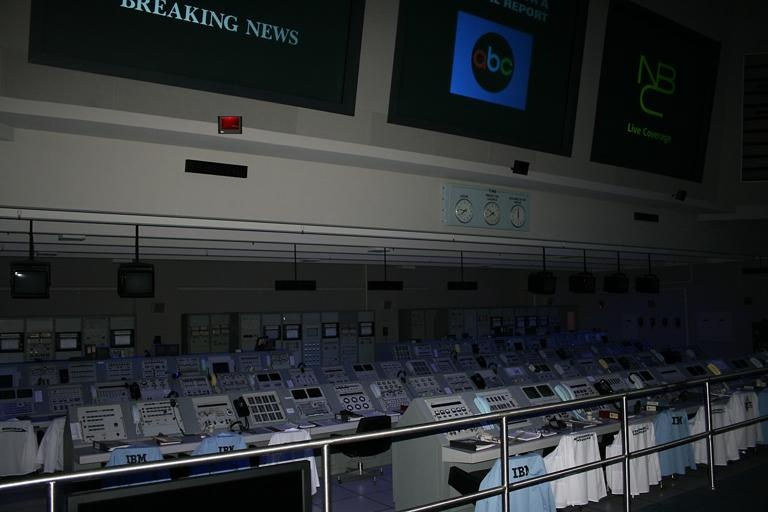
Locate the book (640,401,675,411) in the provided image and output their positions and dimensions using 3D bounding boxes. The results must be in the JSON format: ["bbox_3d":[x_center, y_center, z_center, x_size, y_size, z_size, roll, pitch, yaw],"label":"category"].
[{"bbox_3d":[3.972,2.164,8.044,0.358,0.161,0.268,-1,-1,13],"label":"book"}]

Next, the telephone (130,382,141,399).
[{"bbox_3d":[-3.858,2.069,8.678,0.156,0.251,0.186,7,-16,-42],"label":"telephone"}]

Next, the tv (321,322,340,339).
[{"bbox_3d":[-1.449,2.014,15.292,0.438,0.423,0.102,4,-1,-25],"label":"tv"}]

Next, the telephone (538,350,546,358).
[{"bbox_3d":[3.669,2.256,12.877,0.154,0.197,0.293,-9,-13,22],"label":"telephone"}]

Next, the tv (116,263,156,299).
[{"bbox_3d":[-2.902,0.236,6.624,0.377,0.428,0.431,2,13,-21],"label":"tv"}]

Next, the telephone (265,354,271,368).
[{"bbox_3d":[-2.254,2.042,10.943,0.115,0.269,0.127,-1,-12,-13],"label":"telephone"}]

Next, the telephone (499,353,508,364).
[{"bbox_3d":[2.560,2.164,11.855,0.074,0.180,0.177,-17,-18,31],"label":"telephone"}]

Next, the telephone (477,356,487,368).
[{"bbox_3d":[2.051,2.192,11.683,0.211,0.242,0.373,-6,-12,9],"label":"telephone"}]

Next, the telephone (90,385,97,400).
[{"bbox_3d":[-4.418,2.067,8.561,0.119,0.234,0.234,-2,-4,-25],"label":"telephone"}]

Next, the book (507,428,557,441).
[{"bbox_3d":[1.851,2.240,7.057,0.636,0.104,0.394,2,-14,-27],"label":"book"}]

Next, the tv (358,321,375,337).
[{"bbox_3d":[-0.497,2.041,15.789,0.487,0.421,0.109,4,-14,-33],"label":"tv"}]

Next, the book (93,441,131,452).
[{"bbox_3d":[-3.340,2.306,6.823,0.375,0.125,0.320,-12,-15,32],"label":"book"}]

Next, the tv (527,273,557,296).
[{"bbox_3d":[2.613,0.412,9.227,0.379,0.397,0.492,-6,-12,8],"label":"tv"}]

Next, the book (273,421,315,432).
[{"bbox_3d":[-1.212,2.324,7.641,0.565,0.100,0.459,-5,-12,2],"label":"book"}]

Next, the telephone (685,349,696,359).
[{"bbox_3d":[6.875,2.186,12.555,0.151,0.054,0.222,-1,21,0],"label":"telephone"}]

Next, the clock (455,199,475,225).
[{"bbox_3d":[1.019,-0.567,7.098,0.317,0.329,0.041,0,3,-37],"label":"clock"}]

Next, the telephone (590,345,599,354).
[{"bbox_3d":[4.962,2.190,13.113,0.162,0.200,0.300,-7,-12,13],"label":"telephone"}]

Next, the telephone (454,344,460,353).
[{"bbox_3d":[1.710,2.135,12.957,0.151,0.149,0.036,9,-25,-21],"label":"telephone"}]

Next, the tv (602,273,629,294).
[{"bbox_3d":[4.526,0.485,10.858,0.369,0.410,0.467,-7,-13,14],"label":"tv"}]

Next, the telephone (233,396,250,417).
[{"bbox_3d":[-1.969,2.076,7.731,0.219,0.264,0.117,-3,-12,-5],"label":"telephone"}]

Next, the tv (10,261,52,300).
[{"bbox_3d":[-4.109,0.238,6.531,0.407,0.536,0.505,2,-4,-35],"label":"tv"}]

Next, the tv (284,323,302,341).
[{"bbox_3d":[-2.438,2.001,14.805,0.459,0.447,0.215,1,-2,-31],"label":"tv"}]

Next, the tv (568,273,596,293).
[{"bbox_3d":[3.565,0.450,10.033,0.404,0.434,0.752,-9,-13,24],"label":"tv"}]

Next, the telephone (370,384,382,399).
[{"bbox_3d":[-0.125,2.132,8.849,0.162,0.225,0.143,-3,-12,-3],"label":"telephone"}]

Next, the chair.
[{"bbox_3d":[-0.266,2.824,8.266,0.971,0.931,1.169,0,-13,-18],"label":"chair"}]

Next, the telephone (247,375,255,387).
[{"bbox_3d":[-2.074,1.945,8.752,0.112,0.190,0.043,-40,-39,26],"label":"telephone"}]

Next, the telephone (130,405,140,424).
[{"bbox_3d":[-3.220,2.057,7.269,0.106,0.213,0.049,4,-40,-28],"label":"telephone"}]

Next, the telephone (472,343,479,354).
[{"bbox_3d":[2.150,2.151,13.038,0.163,0.305,0.161,3,-19,-8],"label":"telephone"}]

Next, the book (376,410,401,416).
[{"bbox_3d":[0.082,2.373,8.455,0.355,0.080,0.281,-4,-12,-1],"label":"book"}]

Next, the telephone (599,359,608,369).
[{"bbox_3d":[4.186,2.048,10.661,0.146,0.178,0.228,-8,-13,17],"label":"telephone"}]

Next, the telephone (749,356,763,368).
[{"bbox_3d":[7.344,2.063,11.034,0.375,0.184,0.191,4,-14,-32],"label":"telephone"}]

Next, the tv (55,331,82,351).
[{"bbox_3d":[-7.253,1.896,12.869,0.541,0.542,0.374,2,-7,-34],"label":"tv"}]

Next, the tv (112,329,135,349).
[{"bbox_3d":[-6.177,1.892,13.304,0.554,0.545,0.376,2,-5,-34],"label":"tv"}]

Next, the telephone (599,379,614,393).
[{"bbox_3d":[3.446,1.987,8.631,0.182,0.190,0.547,-8,-13,19],"label":"telephone"}]
